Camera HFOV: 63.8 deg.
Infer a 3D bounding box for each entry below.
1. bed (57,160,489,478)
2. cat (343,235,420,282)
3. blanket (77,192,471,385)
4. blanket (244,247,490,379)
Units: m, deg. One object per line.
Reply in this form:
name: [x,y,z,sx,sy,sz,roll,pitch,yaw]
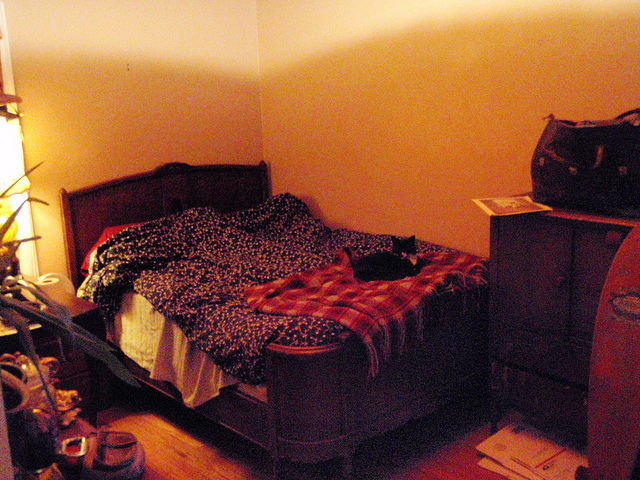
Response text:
bed: [-0.428,0.251,2.833,1.691,0.938,1.996,-18,25,-40]
cat: [0.305,0.083,2.685,0.328,0.185,0.196,-6,17,12]
blanket: [-0.399,0.111,3.028,1.275,0.434,1.317,15,22,43]
blanket: [0.280,0.301,2.513,1.249,0.325,0.863,-5,20,-14]
